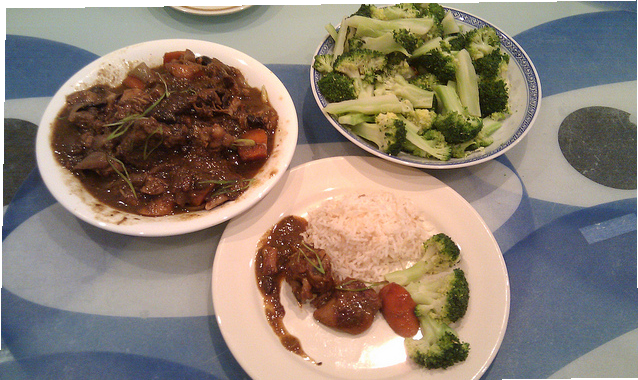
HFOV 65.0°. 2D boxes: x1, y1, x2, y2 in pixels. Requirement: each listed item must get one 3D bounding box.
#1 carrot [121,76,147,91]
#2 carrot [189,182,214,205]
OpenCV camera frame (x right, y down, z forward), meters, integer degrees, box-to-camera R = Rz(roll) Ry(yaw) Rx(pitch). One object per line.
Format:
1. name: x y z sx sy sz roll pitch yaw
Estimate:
1. carrot: -2.284 -1.318 6.188 0.265 0.070 0.135 23 72 -5
2. carrot: -1.367 0.053 5.860 0.301 0.047 0.181 -21 80 -4
